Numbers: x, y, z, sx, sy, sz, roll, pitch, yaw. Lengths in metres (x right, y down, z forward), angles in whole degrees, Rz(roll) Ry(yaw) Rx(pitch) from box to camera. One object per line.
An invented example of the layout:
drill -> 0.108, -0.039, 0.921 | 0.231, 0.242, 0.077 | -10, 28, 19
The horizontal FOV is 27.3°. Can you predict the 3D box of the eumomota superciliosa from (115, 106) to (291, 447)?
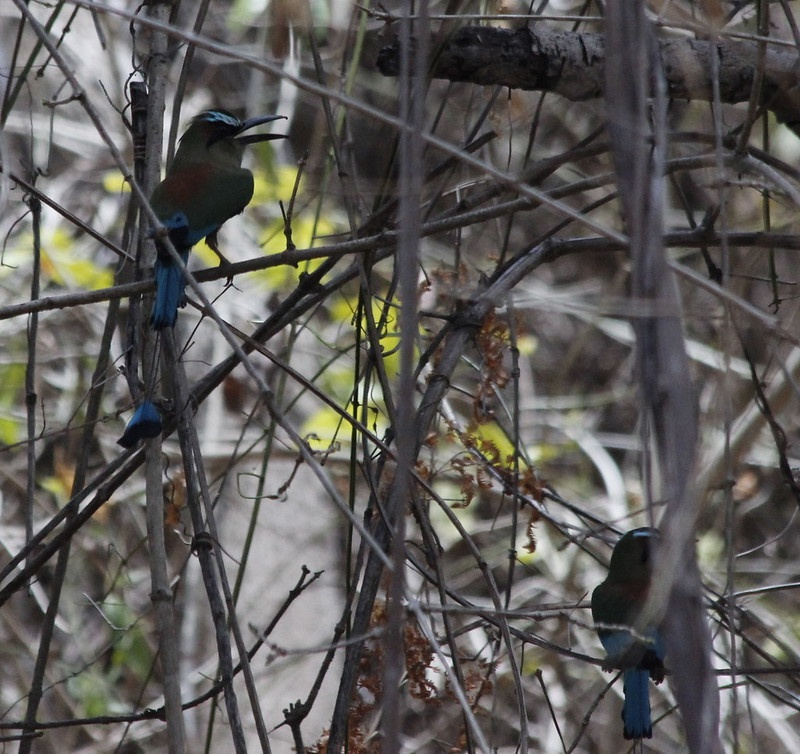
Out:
eumomota superciliosa -> -0.785, -0.425, 6.201 | 0.302, 1.100, 1.252 | -3, -89, 23
